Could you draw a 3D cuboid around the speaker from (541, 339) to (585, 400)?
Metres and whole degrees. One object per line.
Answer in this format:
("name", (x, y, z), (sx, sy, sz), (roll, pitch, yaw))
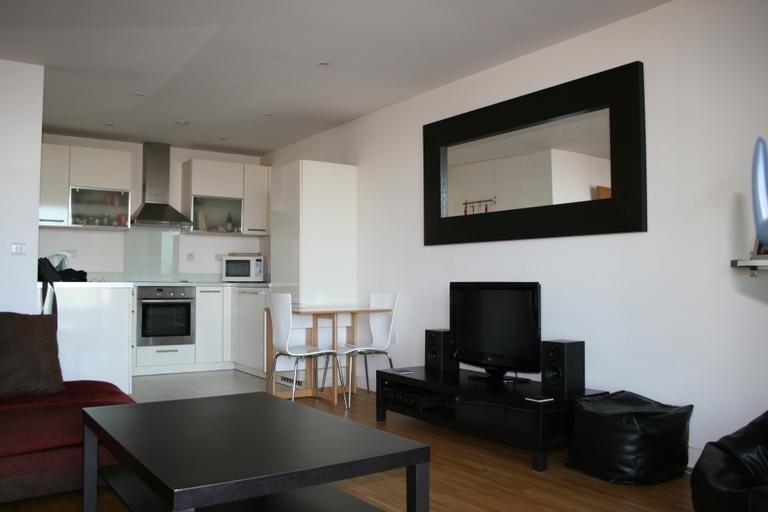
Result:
("speaker", (1.472, 0.907, 4.755), (0.280, 0.405, 0.291), (4, -6, -19))

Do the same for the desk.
("desk", (-0.629, 0.995, 6.474), (1.065, 0.967, 1.054), (1, -2, -32))

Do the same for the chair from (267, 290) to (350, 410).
("chair", (-0.822, 0.943, 6.035), (0.766, 1.101, 0.809), (1, 1, 45))

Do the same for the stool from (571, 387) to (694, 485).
("stool", (1.859, 1.368, 4.383), (0.862, 0.552, 0.878), (2, -2, 20))

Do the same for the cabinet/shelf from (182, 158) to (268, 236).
("cabinet/shelf", (-2.355, -0.841, 8.282), (1.177, 1.012, 0.445), (0, 2, -30))

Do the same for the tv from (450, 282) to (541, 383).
("tv", (1.035, 0.684, 5.154), (0.962, 0.892, 0.350), (-1, -1, 44))

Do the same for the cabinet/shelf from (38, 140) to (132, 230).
("cabinet/shelf", (-4.008, -0.901, 7.617), (0.367, 1.039, 1.102), (9, 6, 44))

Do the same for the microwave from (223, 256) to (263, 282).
("microwave", (-2.103, 0.203, 8.436), (0.618, 0.419, 0.370), (1, -3, -19))

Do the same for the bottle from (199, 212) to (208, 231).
("bottle", (-2.591, -0.491, 8.222), (0.118, 0.248, 0.010), (-2, 3, -34))

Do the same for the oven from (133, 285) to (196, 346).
("oven", (-2.903, 0.868, 7.814), (0.807, 0.893, 0.606), (0, -12, -8))

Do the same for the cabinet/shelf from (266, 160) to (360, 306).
("cabinet/shelf", (-0.874, -0.270, 6.937), (1.090, 1.713, 0.637), (0, 2, -1))

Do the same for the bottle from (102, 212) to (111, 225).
("bottle", (-3.701, -0.488, 7.611), (0.126, 0.140, 0.124), (1, 2, -19))

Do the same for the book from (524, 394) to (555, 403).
("book", (1.178, 1.100, 4.383), (0.199, 0.024, 0.167), (1, 3, 37))

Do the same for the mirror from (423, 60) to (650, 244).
("mirror", (1.412, -0.940, 5.122), (0.070, 1.003, 1.750), (2, -4, -41))
